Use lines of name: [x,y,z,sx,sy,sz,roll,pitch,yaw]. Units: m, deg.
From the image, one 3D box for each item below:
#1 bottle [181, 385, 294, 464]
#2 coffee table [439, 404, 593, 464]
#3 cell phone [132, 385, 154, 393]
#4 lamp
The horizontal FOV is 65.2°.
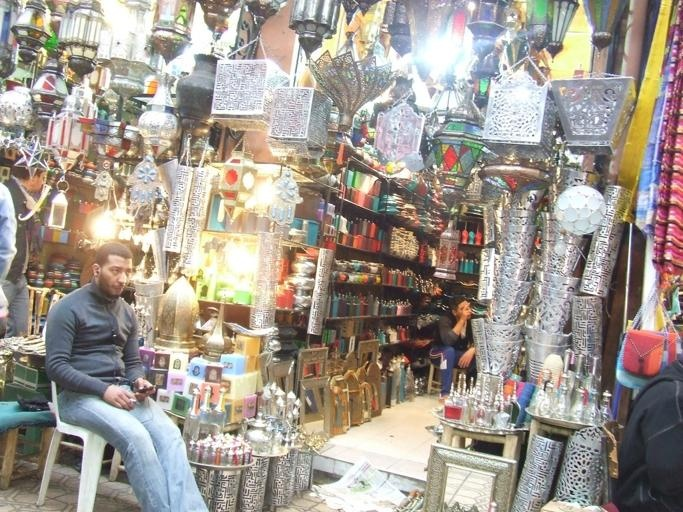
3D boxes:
bottle: [-0.611,1.112,3.495,0.308,0.363,0.935,6,-11,17]
coffee table: [1.026,1.094,3.359,0.898,0.303,0.239,7,-1,22]
cell phone: [-1.120,0.736,3.009,0.086,0.029,0.050,3,4,0]
lamp: [-0.164,-0.943,3.882,4.247,1.756,1.017,7,0,7]
